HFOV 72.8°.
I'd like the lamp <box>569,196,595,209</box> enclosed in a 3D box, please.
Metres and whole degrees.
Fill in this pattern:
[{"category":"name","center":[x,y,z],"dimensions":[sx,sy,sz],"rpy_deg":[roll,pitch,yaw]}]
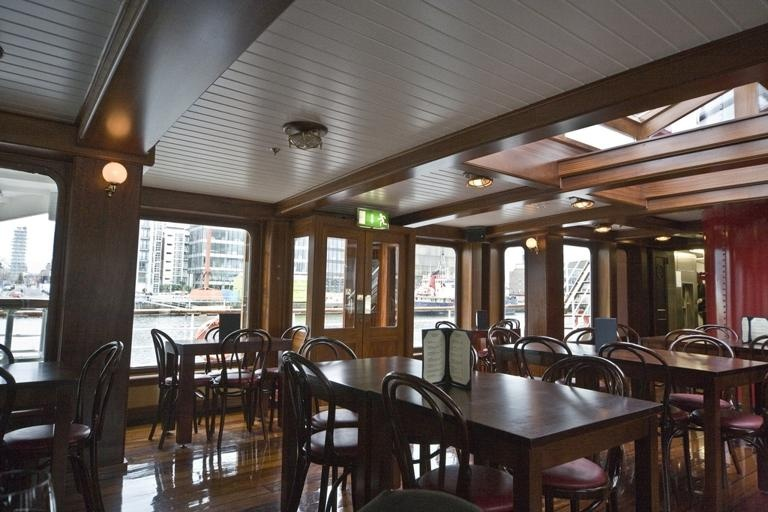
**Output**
[{"category":"lamp","center":[2.548,-0.689,6.733],"dimensions":[0.293,0.073,0.228],"rpy_deg":[-2,-11,38]}]

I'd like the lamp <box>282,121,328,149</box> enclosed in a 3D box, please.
[{"category":"lamp","center":[-0.706,-1.105,4.736],"dimensions":[0.409,0.219,0.213],"rpy_deg":[-1,4,-12]}]

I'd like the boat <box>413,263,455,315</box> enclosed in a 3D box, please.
[{"category":"boat","center":[0.944,0.674,9.434],"dimensions":[0.952,0.901,0.142],"rpy_deg":[-3,6,-38]}]

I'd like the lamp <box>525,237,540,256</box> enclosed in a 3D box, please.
[{"category":"lamp","center":[2.533,-0.160,8.950],"dimensions":[0.295,0.255,0.348],"rpy_deg":[-7,3,-4]}]

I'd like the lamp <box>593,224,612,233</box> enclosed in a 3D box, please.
[{"category":"lamp","center":[3.472,-0.434,8.281],"dimensions":[0.186,0.056,0.171],"rpy_deg":[3,-8,-24]}]

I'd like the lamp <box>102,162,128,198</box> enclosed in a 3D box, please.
[{"category":"lamp","center":[-2.571,-0.738,5.019],"dimensions":[0.223,0.343,0.135],"rpy_deg":[-2,5,-27]}]

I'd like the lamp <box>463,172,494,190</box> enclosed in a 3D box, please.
[{"category":"lamp","center":[1.019,-0.836,5.687],"dimensions":[0.259,0.124,0.348],"rpy_deg":[3,5,42]}]
